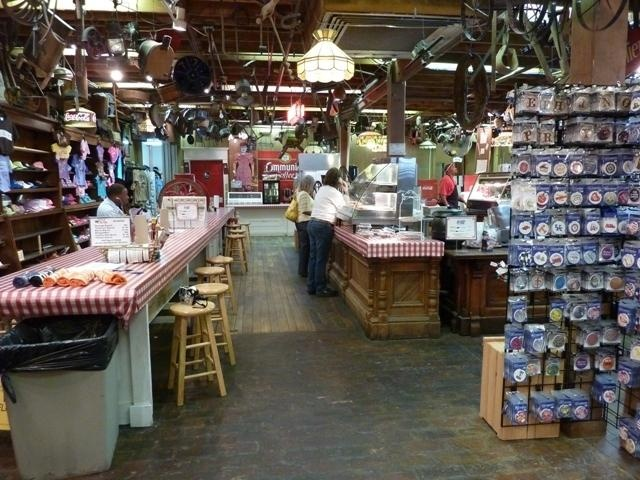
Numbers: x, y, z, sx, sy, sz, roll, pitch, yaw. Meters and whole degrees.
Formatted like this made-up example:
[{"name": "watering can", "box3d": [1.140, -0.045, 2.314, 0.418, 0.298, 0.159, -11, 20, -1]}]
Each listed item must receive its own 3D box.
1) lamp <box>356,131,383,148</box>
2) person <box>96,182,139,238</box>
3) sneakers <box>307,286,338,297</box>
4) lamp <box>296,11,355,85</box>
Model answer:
[{"name": "lamp", "box3d": [1.689, -3.214, 16.258, 0.640, 0.452, 0.656, 3, 11, 6]}, {"name": "person", "box3d": [-2.704, -0.297, 6.761, 0.480, 0.956, 0.419, 8, 23, 0]}, {"name": "sneakers", "box3d": [0.047, 0.800, 7.875, 0.466, 0.207, 0.175, -1, 5, -8]}, {"name": "lamp", "box3d": [0.047, -2.185, 5.749, 0.577, 0.787, 1.161, -1, 13, -2]}]
